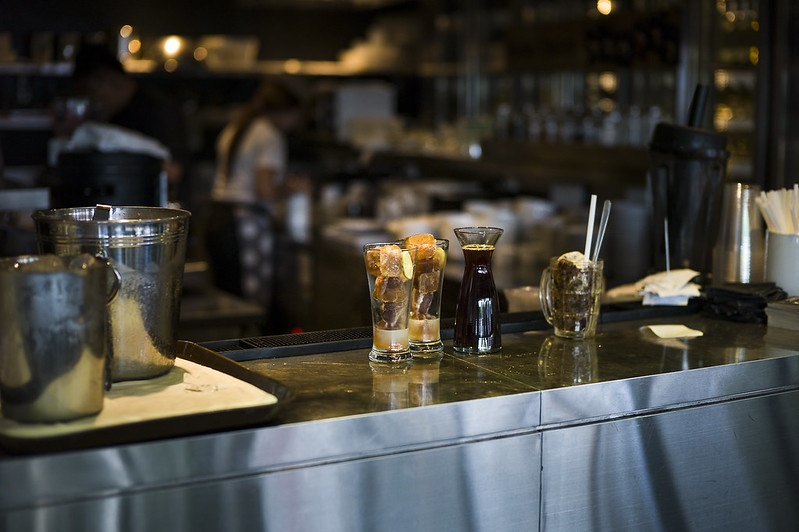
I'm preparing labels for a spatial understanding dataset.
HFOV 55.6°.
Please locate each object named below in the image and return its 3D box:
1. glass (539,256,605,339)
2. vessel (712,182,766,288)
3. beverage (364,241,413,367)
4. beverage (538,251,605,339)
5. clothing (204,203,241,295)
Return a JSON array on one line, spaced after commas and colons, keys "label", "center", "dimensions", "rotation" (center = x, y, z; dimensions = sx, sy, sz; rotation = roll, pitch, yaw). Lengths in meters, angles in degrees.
[{"label": "glass", "center": [0.368, 0.072, 1.650], "dimensions": [0.112, 0.152, 0.164], "rotation": [2, 1, -34]}, {"label": "vessel", "center": [0.889, -0.056, 1.917], "dimensions": [0.107, 0.199, 0.102], "rotation": [-14, 17, -18]}, {"label": "beverage", "center": [-0.014, 0.073, 1.446], "dimensions": [0.088, 0.230, 0.085], "rotation": [-4, 5, -8]}, {"label": "beverage", "center": [0.369, 0.070, 1.650], "dimensions": [0.114, 0.151, 0.167], "rotation": [-1, 4, -41]}, {"label": "clothing", "center": [-0.789, -0.067, 3.420], "dimensions": [0.149, 0.434, 0.225], "rotation": [-4, 5, -12]}]
